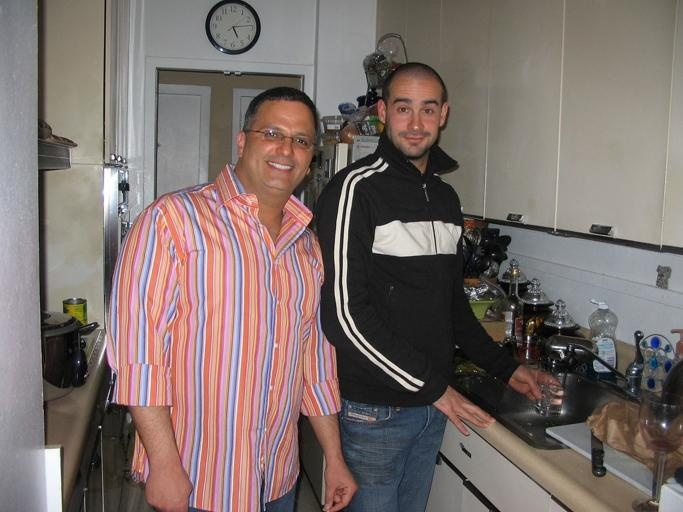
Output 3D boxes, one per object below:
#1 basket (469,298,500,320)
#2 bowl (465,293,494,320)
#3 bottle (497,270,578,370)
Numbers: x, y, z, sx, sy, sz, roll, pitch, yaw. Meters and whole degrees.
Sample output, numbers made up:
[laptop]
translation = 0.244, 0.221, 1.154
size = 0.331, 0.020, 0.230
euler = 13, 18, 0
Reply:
[basket]
translation = 0.627, 0.223, 2.416
size = 0.128, 0.121, 0.113
euler = 1, -1, -6
[bowl]
translation = 0.606, 0.218, 2.415
size = 0.129, 0.113, 0.119
euler = 0, -2, 0
[bottle]
translation = 0.856, 0.244, 2.421
size = 0.347, 0.405, 0.369
euler = 1, 5, 25
